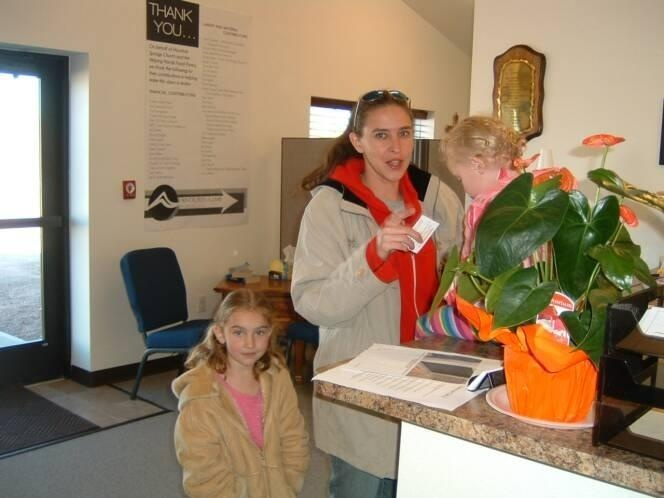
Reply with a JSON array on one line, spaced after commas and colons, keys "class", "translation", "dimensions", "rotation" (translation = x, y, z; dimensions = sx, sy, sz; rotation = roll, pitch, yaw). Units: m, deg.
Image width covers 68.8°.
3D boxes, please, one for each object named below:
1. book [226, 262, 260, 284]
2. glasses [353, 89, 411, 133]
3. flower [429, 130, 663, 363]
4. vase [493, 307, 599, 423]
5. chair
[{"class": "book", "translation": [-0.788, 0.224, 4.272], "dimensions": [0.200, 0.079, 0.208], "rotation": [5, 14, 17]}, {"class": "glasses", "translation": [0.132, -0.457, 1.672], "dimensions": [0.156, 0.168, 0.049], "rotation": [-5, 16, -21]}, {"class": "flower", "translation": [0.423, -0.008, 1.023], "dimensions": [0.344, 0.561, 0.531], "rotation": [2, 8, 6]}, {"class": "vase", "translation": [0.379, 0.206, 0.909], "dimensions": [0.165, 0.160, 0.172], "rotation": [1, 0, 6]}, {"class": "chair", "translation": [-1.117, 0.561, 3.633], "dimensions": [0.642, 1.069, 0.667], "rotation": [-2, 4, 28]}]
